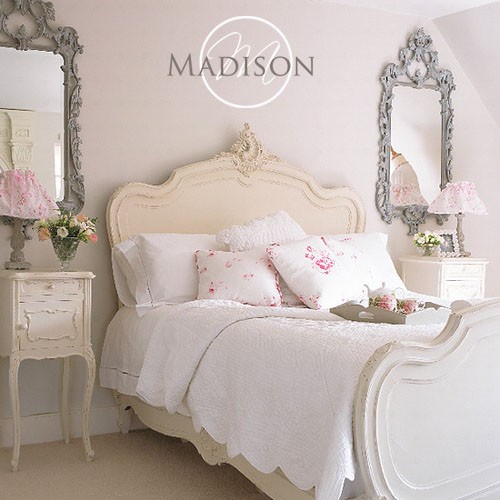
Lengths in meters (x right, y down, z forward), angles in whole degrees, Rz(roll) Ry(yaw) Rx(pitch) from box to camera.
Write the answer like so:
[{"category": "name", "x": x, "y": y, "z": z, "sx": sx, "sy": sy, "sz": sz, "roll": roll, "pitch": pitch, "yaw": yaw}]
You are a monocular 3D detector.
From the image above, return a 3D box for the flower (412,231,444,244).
[{"category": "flower", "x": 1.282, "y": -0.087, "z": 3.806, "sx": 0.129, "sy": 0.064, "sz": 0.125, "roll": 1, "pitch": 9, "yaw": -4}]

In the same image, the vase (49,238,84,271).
[{"category": "vase", "x": -0.943, "y": 0.022, "z": 2.680, "sx": 0.166, "sy": 0.142, "sz": 0.160, "roll": 8, "pitch": -2, "yaw": -31}]

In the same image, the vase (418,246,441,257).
[{"category": "vase", "x": 1.328, "y": 0.010, "z": 3.869, "sx": 0.089, "sy": 0.061, "sz": 0.081, "roll": -2, "pitch": -3, "yaw": 35}]

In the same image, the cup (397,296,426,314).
[{"category": "cup", "x": 0.598, "y": 0.202, "z": 1.980, "sx": 0.063, "sy": 0.037, "sz": 0.082, "roll": 2, "pitch": 4, "yaw": 28}]

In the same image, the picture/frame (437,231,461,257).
[{"category": "picture/frame", "x": 1.467, "y": -0.039, "z": 3.875, "sx": 0.184, "sy": 0.181, "sz": 0.017, "roll": 9, "pitch": -26, "yaw": -18}]

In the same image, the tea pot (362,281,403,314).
[{"category": "tea pot", "x": 0.509, "y": 0.188, "z": 2.015, "sx": 0.092, "sy": 0.095, "sz": 0.144, "roll": 7, "pitch": -7, "yaw": -39}]

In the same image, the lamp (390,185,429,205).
[{"category": "lamp", "x": 1.191, "y": -0.418, "z": 4.016, "sx": 0.179, "sy": 0.187, "sz": 0.061, "roll": 0, "pitch": -15, "yaw": -15}]

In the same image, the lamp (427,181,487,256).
[{"category": "lamp", "x": 1.534, "y": -0.229, "z": 3.878, "sx": 0.373, "sy": 0.510, "sz": 0.390, "roll": -6, "pitch": 6, "yaw": -41}]

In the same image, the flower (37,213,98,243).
[{"category": "flower", "x": -0.921, "y": -0.112, "z": 2.653, "sx": 0.192, "sy": 0.107, "sz": 0.191, "roll": -1, "pitch": 1, "yaw": -3}]
